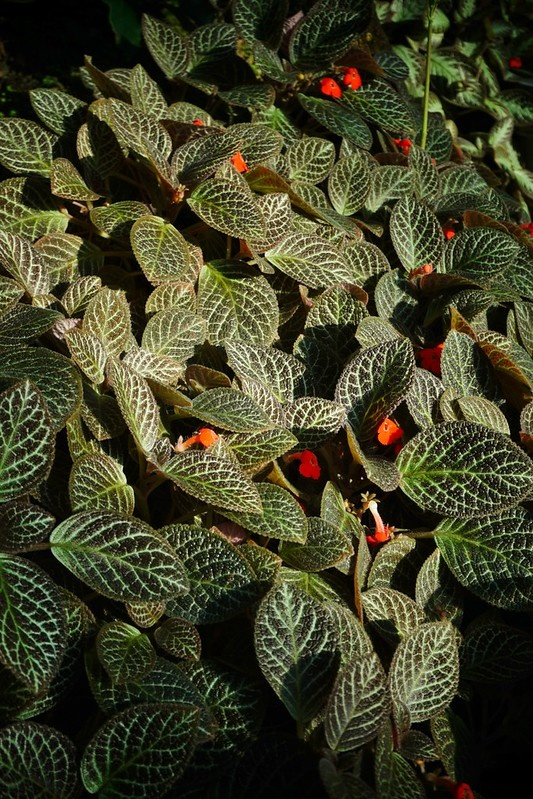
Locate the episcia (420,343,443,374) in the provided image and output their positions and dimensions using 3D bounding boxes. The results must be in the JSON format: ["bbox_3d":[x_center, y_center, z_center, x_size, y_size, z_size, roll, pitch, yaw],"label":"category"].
[{"bbox_3d":[0.529,-0.128,2.329,0.062,0.071,0.088,-13,54,-19],"label":"episcia"}]

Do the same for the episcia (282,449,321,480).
[{"bbox_3d":[0.102,0.165,1.890,0.095,0.065,0.042,19,20,36],"label":"episcia"}]

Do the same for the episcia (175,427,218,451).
[{"bbox_3d":[-0.175,0.100,1.828,0.037,0.059,0.034,25,48,-38],"label":"episcia"}]
